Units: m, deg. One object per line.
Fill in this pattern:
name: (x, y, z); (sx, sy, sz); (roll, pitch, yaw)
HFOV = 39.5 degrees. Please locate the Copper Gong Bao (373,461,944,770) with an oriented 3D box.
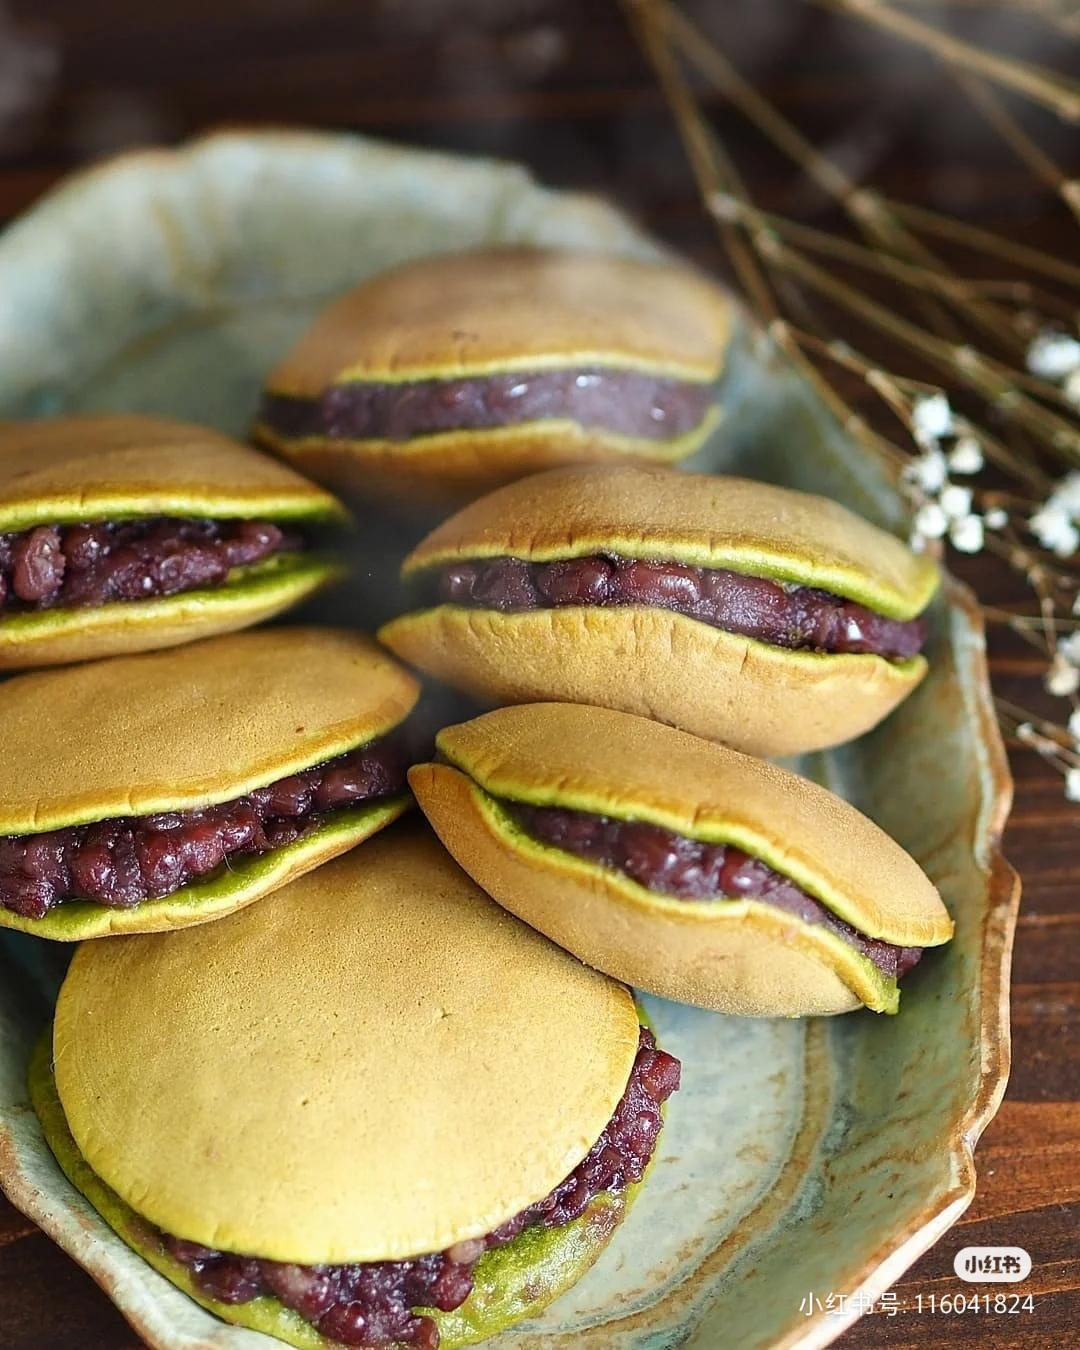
Copper Gong Bao: (0.073, -0.041, 1.038); (0.345, 0.123, 0.218); (4, 7, -7)

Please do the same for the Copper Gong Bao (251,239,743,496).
Copper Gong Bao: (-0.008, -0.220, 1.088); (0.273, 0.094, 0.233); (-8, 15, -30)
